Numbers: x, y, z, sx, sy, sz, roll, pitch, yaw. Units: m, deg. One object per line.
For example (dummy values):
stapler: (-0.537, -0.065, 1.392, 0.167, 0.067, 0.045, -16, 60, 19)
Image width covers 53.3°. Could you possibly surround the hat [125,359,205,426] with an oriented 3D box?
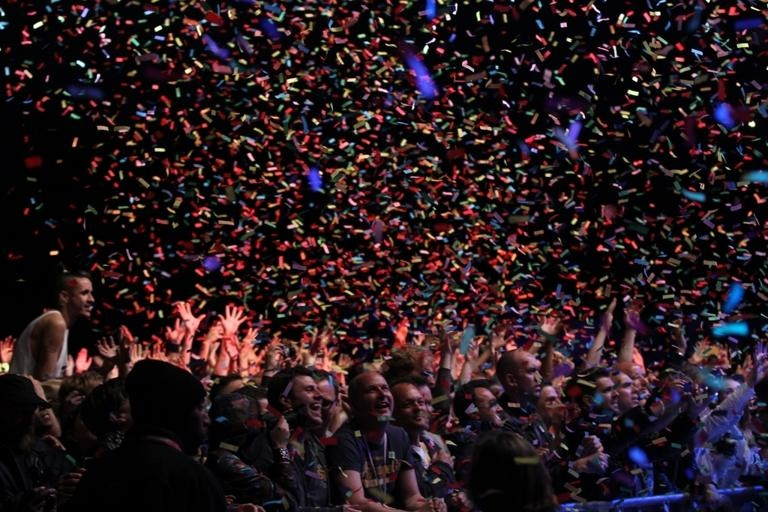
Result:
hat: (-1.752, 1.056, 6.183, 0.552, 0.415, 0.615, 5, 5, 11)
